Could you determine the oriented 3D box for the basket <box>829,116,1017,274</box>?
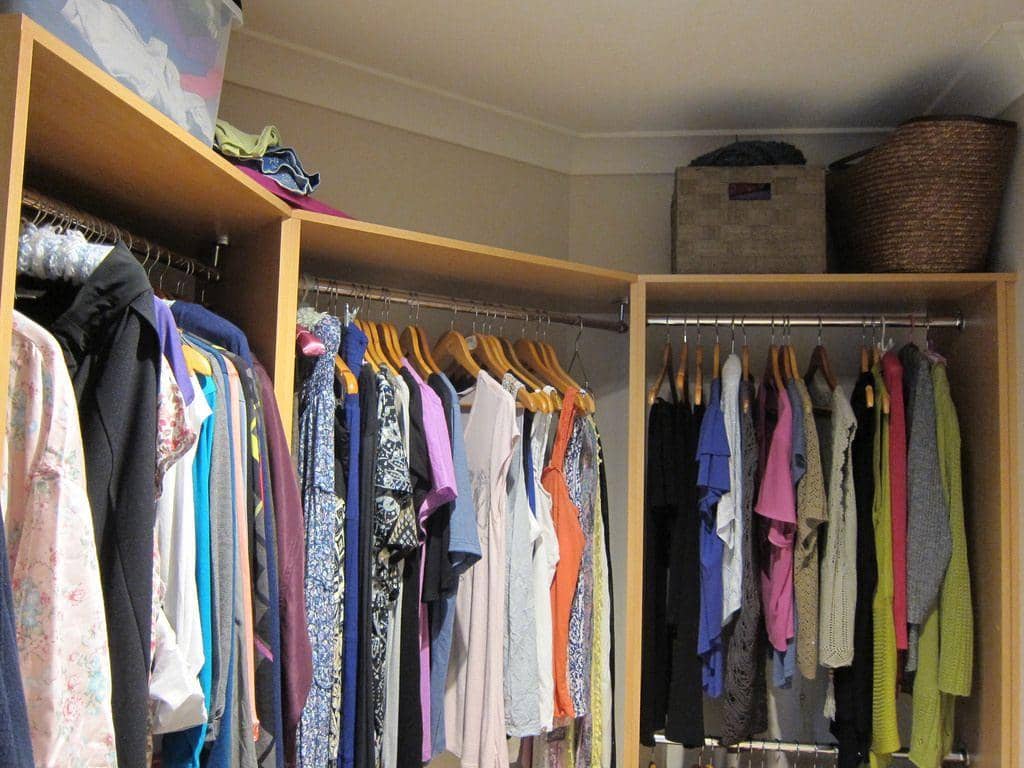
[{"bbox_3d":[1.197,-0.522,3.358,0.305,0.367,0.456,2,1,-11],"label":"basket"}]

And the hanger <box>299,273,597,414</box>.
[{"bbox_3d":[-0.182,-0.095,3.397,0.846,0.444,0.569,5,-15,-16],"label":"hanger"}]
